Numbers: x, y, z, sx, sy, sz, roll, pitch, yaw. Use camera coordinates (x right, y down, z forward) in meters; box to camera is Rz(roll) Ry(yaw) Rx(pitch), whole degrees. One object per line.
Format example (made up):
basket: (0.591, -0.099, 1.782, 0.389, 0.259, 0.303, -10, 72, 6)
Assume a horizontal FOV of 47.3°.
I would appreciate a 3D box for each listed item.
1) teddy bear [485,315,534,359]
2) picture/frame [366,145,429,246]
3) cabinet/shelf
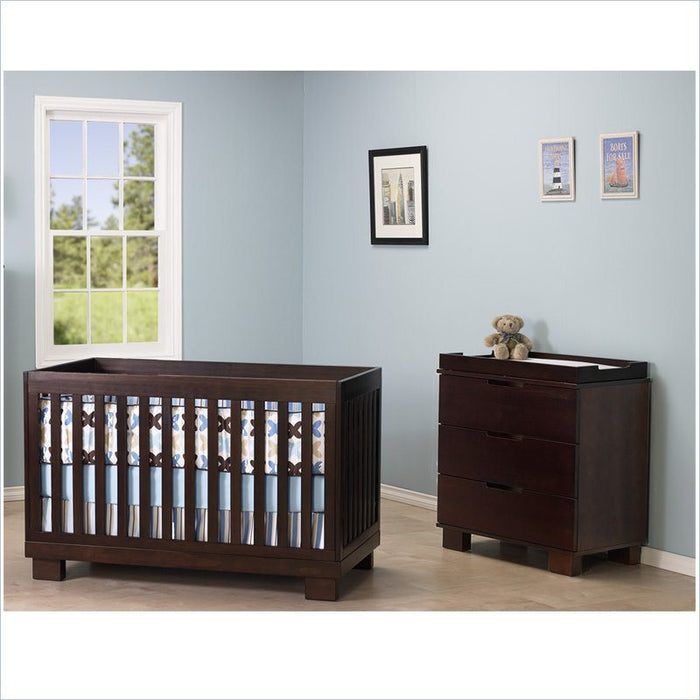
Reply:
teddy bear: (0.734, -0.055, 3.691, 0.197, 0.236, 0.151, 2, -3, 2)
picture/frame: (0.273, -0.849, 4.342, 0.483, 0.740, 0.045, 3, 7, 40)
cabinet/shelf: (0.832, 0.481, 3.582, 0.488, 0.877, 0.816, 0, 2, -37)
